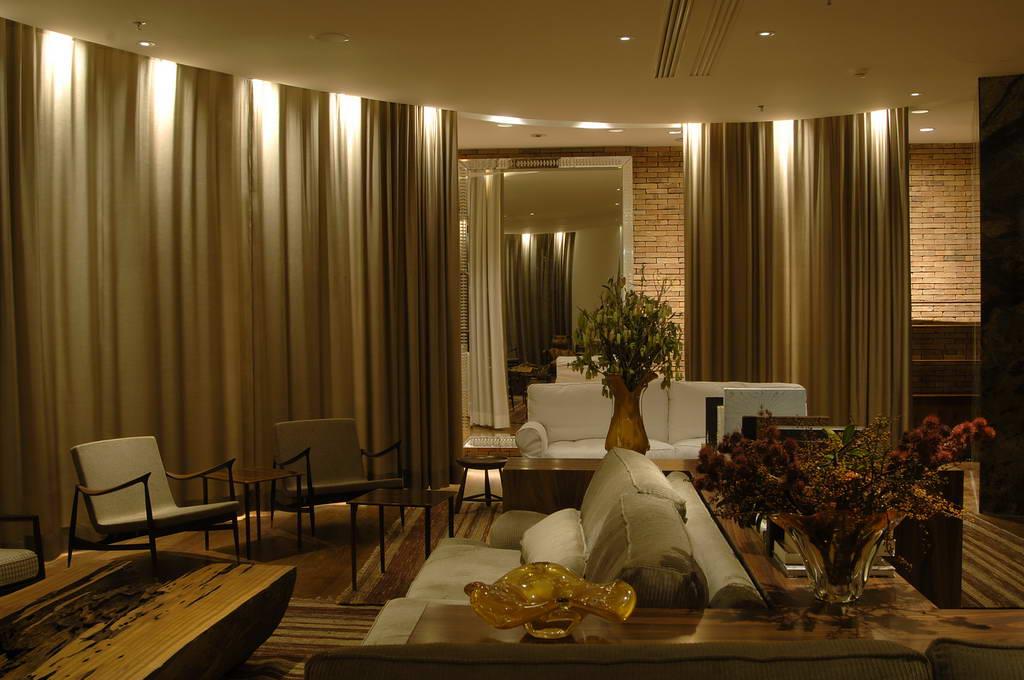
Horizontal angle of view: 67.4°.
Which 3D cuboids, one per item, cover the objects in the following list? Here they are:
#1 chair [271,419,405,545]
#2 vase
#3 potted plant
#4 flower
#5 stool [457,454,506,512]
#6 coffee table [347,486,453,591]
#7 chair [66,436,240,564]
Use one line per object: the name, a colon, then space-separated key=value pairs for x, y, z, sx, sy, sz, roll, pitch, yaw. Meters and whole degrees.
chair: x=-1.549 y=1.058 z=6.532 sx=1.170 sy=0.963 sz=0.876 roll=1 pitch=-5 yaw=-40
vase: x=1.281 y=0.824 z=3.000 sx=0.421 sy=0.263 sz=0.414 roll=0 pitch=-5 yaw=-1
potted plant: x=0.678 y=0.177 z=4.527 sx=0.632 sy=1.074 sz=0.626 roll=-1 pitch=5 yaw=11
flower: x=1.246 y=0.568 z=3.321 sx=0.821 sy=0.567 sz=0.853 roll=1 pitch=-7 yaw=0
stool: x=-0.303 y=1.289 z=6.899 sx=0.596 sy=0.431 sz=0.539 roll=1 pitch=-2 yaw=-5
coffee table: x=-0.802 y=1.378 z=5.572 sx=0.724 sy=0.654 sz=0.713 roll=-1 pitch=-5 yaw=1
chair: x=-2.628 y=1.143 z=5.657 sx=1.121 sy=1.010 sz=1.047 roll=-2 pitch=-4 yaw=22
